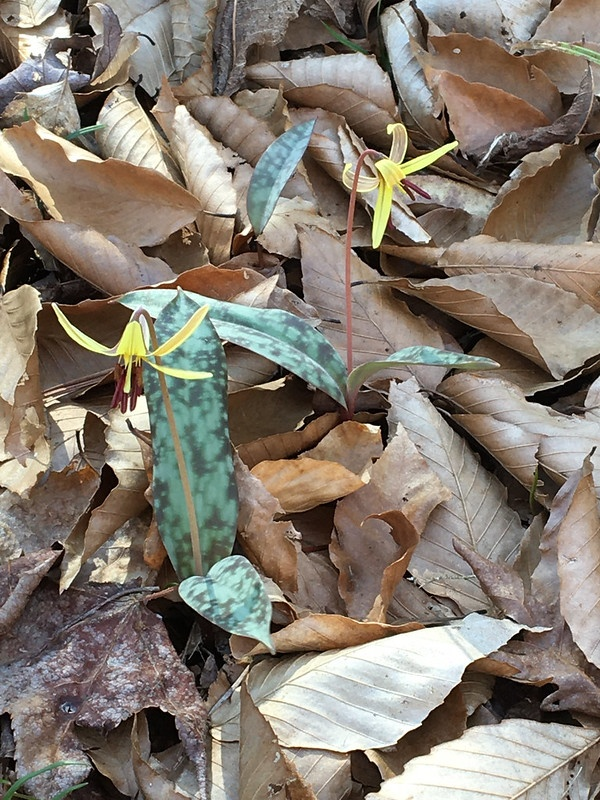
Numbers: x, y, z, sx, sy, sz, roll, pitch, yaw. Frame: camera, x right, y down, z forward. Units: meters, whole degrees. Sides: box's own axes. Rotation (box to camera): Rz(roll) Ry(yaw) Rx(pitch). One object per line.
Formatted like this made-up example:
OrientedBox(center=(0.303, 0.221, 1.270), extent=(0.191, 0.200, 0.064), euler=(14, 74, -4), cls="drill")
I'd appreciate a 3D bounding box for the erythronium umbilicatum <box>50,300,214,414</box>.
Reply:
OrientedBox(center=(-0.262, -0.083, 1.501), extent=(0.270, 0.263, 0.233), euler=(7, 29, 14), cls="erythronium umbilicatum")
